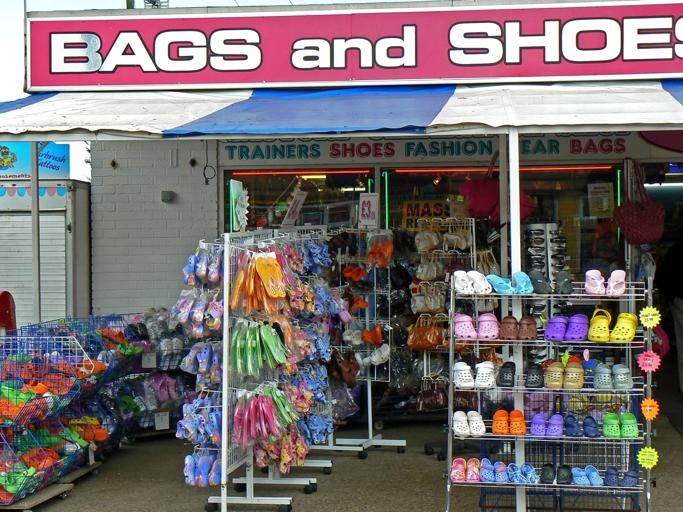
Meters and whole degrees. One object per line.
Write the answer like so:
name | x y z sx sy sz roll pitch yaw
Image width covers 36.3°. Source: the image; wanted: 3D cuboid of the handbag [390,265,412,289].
handbag | 0.632 0.233 11.286 0.185 0.265 0.083 -3 -1 -13

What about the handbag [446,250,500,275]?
handbag | 1.419 0.075 11.107 0.606 0.255 0.233 -2 5 7

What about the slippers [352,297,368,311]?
slippers | 0.178 0.510 11.078 0.151 0.123 0.066 -20 1 31

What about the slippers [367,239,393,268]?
slippers | 0.413 -0.021 11.159 0.217 0.160 0.283 -14 13 0

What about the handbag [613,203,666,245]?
handbag | 2.989 -0.326 10.492 0.420 0.565 0.221 -2 3 15

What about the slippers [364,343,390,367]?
slippers | 0.371 1.049 11.014 0.245 0.102 0.201 -16 -4 44

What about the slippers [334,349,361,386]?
slippers | 0.053 1.171 10.889 0.257 0.368 0.113 4 -15 -28

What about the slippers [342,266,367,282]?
slippers | 0.132 0.179 11.202 0.186 0.082 0.192 0 30 6

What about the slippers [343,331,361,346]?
slippers | 0.098 0.871 11.012 0.164 0.077 0.136 -4 7 5
